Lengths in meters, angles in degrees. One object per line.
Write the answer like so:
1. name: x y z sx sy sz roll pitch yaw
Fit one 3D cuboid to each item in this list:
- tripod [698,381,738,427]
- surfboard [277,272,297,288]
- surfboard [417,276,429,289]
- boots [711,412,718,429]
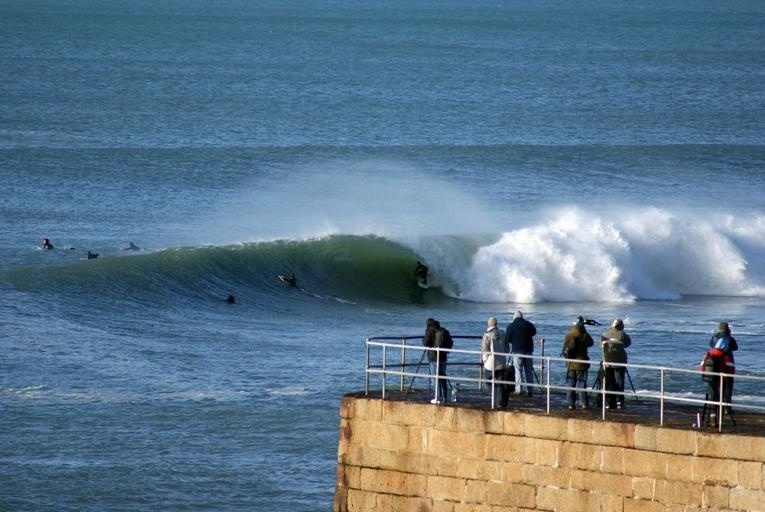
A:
1. tripod: 16.121 6.976 87.563 1.598 2.359 0.858 0 3 7
2. surfboard: -5.694 1.474 110.643 0.951 0.343 1.020 41 22 32
3. surfboard: 2.523 1.674 111.736 0.688 0.647 0.339 2 -13 12
4. boots: 15.955 7.872 87.392 0.372 0.639 0.479 0 2 5
